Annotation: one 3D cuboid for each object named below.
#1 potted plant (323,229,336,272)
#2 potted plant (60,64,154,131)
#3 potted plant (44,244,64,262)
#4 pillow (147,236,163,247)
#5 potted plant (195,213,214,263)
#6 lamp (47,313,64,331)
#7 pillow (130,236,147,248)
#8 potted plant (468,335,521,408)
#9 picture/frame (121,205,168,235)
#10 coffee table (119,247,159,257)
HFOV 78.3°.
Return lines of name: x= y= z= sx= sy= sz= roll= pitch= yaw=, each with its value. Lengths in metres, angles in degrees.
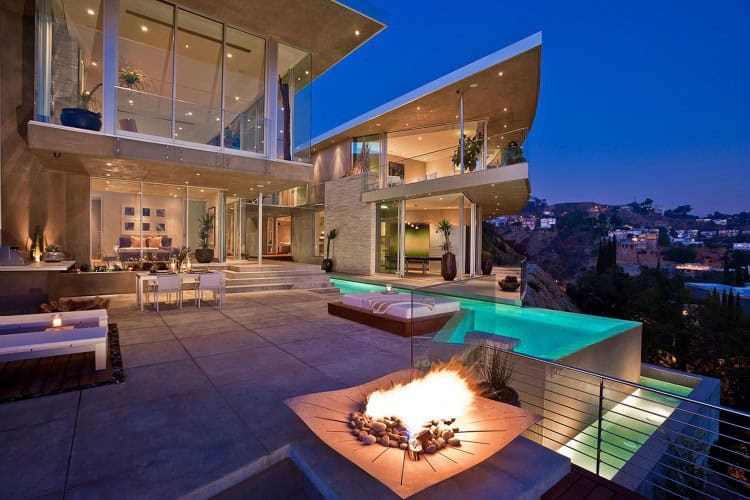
potted plant: x=-2.427 y=-0.032 z=24.169 sx=0.548 sy=2.245 sz=0.944 roll=-3 pitch=2 yaw=-44
potted plant: x=-8.609 y=-4.700 z=14.551 sx=2.376 sy=2.183 sz=1.295 roll=-1 pitch=5 yaw=-27
potted plant: x=-9.947 y=0.095 z=14.254 sx=0.498 sy=0.571 sz=0.496 roll=-3 pitch=-3 yaw=24
pillow: x=-8.641 y=-0.335 z=18.034 sx=0.416 sy=0.411 sz=0.161 roll=-2 pitch=-2 yaw=-39
potted plant: x=-6.960 y=-0.504 z=18.881 sx=0.776 sy=2.018 sz=0.397 roll=-2 pitch=2 yaw=-32
lamp: x=-7.369 y=1.663 z=10.648 sx=0.304 sy=0.346 sz=0.318 roll=-7 pitch=-7 yaw=40
pillow: x=-9.147 y=-0.321 z=17.770 sx=0.323 sy=0.333 sz=0.123 roll=-32 pitch=13 yaw=-40
potted plant: x=2.572 y=2.537 z=10.023 sx=1.242 sy=1.361 sz=1.306 roll=-2 pitch=3 yaw=4
picture/frame: x=-9.018 y=-1.175 z=17.835 sx=1.224 sy=0.853 sz=0.027 roll=1 pitch=-3 yaw=-32
coffee table: x=-8.961 y=0.063 z=17.616 sx=1.552 sy=0.287 sz=0.429 roll=-2 pitch=1 yaw=-28
